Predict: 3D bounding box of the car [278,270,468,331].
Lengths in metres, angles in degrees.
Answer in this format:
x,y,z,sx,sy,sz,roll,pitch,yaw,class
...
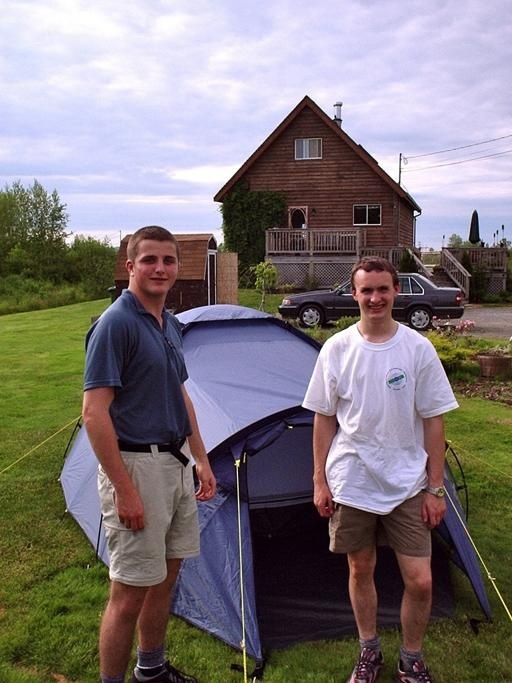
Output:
x,y,z,sx,sy,sz,roll,pitch,yaw,class
3.018,-0.994,15.879,4.198,1.443,1.857,2,4,9,car

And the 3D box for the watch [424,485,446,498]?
x,y,z,sx,sy,sz,roll,pitch,yaw,class
0.739,0.622,2.477,0.054,0.055,0.056,0,5,29,watch

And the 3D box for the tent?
x,y,z,sx,sy,sz,roll,pitch,yaw,class
0.090,0.800,3.869,1.897,1.078,2.455,-1,1,-20,tent
